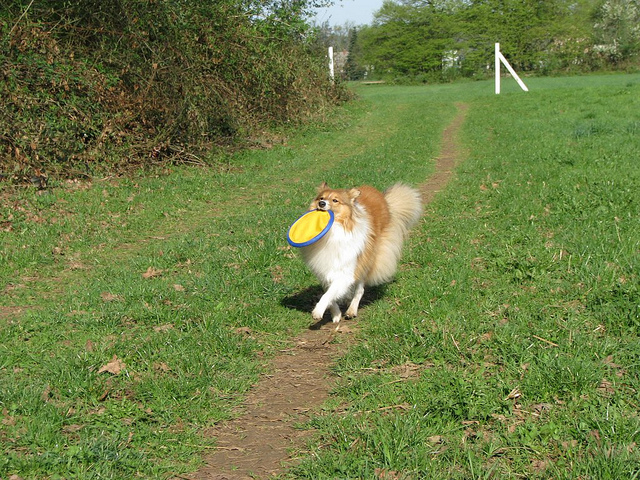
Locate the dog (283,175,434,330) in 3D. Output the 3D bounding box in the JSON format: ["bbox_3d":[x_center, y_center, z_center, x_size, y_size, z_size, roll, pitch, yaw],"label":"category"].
[{"bbox_3d":[0.974,-0.231,10.706,1.364,2.083,3.803,6,25,27],"label":"dog"}]

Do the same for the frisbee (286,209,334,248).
[{"bbox_3d":[-0.087,-0.072,9.577,0.622,0.133,0.616,-31,32,1],"label":"frisbee"}]
